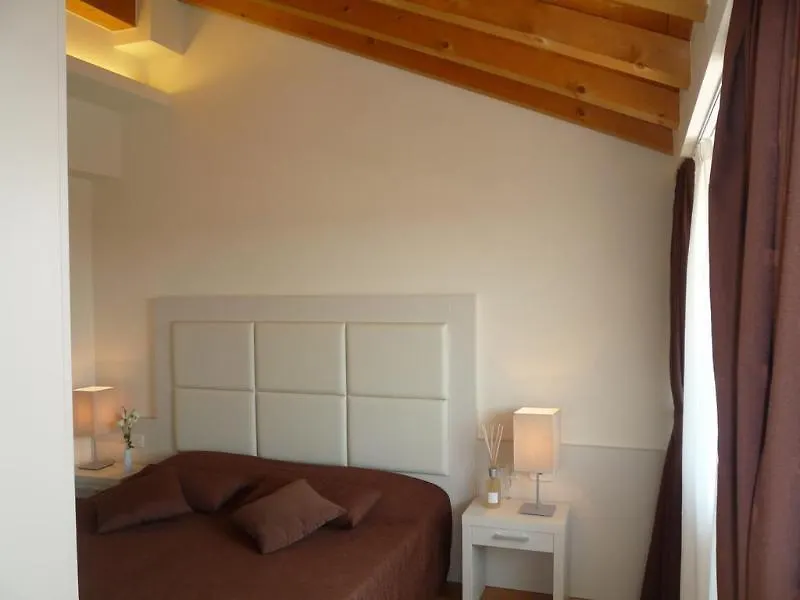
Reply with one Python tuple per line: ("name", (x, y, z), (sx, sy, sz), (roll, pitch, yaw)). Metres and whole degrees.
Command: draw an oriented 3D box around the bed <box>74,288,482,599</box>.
("bed", (-0.596, 0.816, 3.772), (1.579, 1.518, 0.178), (-1, -2, 20))
